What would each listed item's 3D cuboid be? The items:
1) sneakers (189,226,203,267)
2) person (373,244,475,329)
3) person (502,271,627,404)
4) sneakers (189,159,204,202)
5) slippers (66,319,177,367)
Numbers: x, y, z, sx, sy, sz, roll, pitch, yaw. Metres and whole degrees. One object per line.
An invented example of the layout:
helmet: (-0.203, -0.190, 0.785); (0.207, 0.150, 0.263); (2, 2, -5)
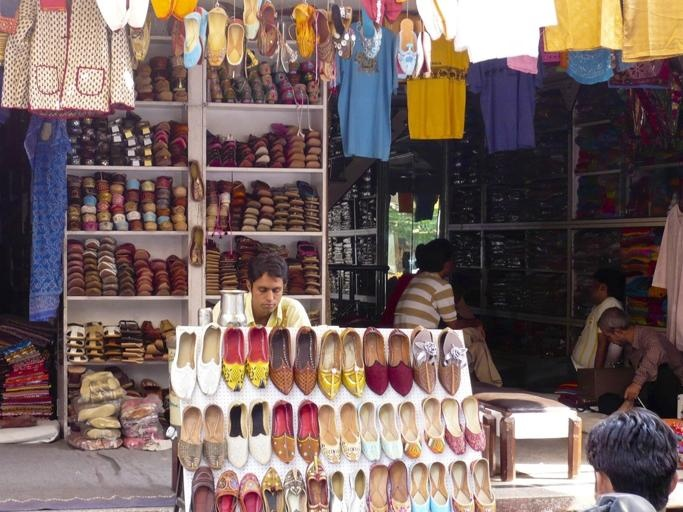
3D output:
sneakers: (-1.198, -0.083, 5.913); (0.123, 0.293, 0.096); (-1, 2, -25)
person: (0.723, 0.246, 6.428); (0.735, 0.795, 0.779); (1, 1, 20)
person: (2.329, 0.719, 6.992); (0.740, 1.206, 0.645); (-3, -16, 30)
sneakers: (-1.188, -0.615, 5.891); (0.117, 0.330, 0.082); (-6, 9, -22)
slippers: (-1.801, 0.693, 5.878); (0.829, 0.332, 0.242); (1, 1, -13)
